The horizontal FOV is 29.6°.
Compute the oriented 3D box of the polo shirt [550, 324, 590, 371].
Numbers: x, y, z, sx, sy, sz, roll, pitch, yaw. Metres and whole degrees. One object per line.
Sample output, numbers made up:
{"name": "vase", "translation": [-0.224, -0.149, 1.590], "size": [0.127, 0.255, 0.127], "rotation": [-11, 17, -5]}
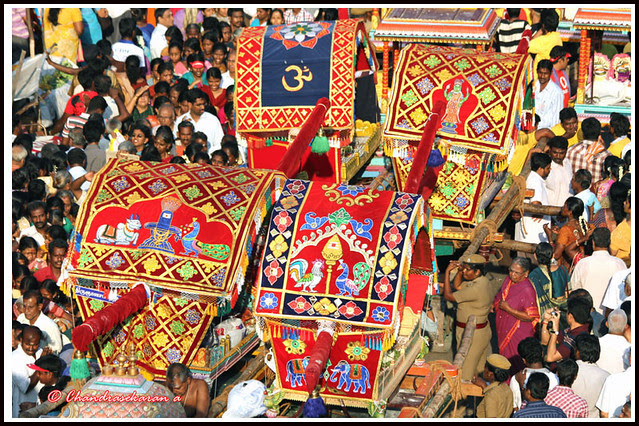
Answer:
{"name": "polo shirt", "translation": [4.110, 2.278, 19.866], "size": [0.478, 0.711, 0.596], "rotation": [34, 10, 2]}

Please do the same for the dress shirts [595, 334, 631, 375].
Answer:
{"name": "dress shirts", "translation": [4.801, 2.373, 19.771], "size": [0.657, 0.772, 0.456], "rotation": [4, 0, 16]}

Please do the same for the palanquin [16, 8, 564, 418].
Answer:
{"name": "palanquin", "translation": [-0.424, 0.212, 21.344], "size": [4.981, 6.548, 2.153], "rotation": [8, -34, 9]}

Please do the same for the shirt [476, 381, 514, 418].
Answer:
{"name": "shirt", "translation": [2.846, 3.056, 19.498], "size": [0.636, 0.581, 0.347], "rotation": [-6, 14, -44]}

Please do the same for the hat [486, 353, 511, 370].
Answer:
{"name": "hat", "translation": [2.888, 2.450, 19.559], "size": [0.366, 0.218, 0.263], "rotation": [5, 7, 7]}

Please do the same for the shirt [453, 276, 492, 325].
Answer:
{"name": "shirt", "translation": [2.675, 1.545, 21.148], "size": [0.676, 0.822, 0.701], "rotation": [17, 14, 18]}
